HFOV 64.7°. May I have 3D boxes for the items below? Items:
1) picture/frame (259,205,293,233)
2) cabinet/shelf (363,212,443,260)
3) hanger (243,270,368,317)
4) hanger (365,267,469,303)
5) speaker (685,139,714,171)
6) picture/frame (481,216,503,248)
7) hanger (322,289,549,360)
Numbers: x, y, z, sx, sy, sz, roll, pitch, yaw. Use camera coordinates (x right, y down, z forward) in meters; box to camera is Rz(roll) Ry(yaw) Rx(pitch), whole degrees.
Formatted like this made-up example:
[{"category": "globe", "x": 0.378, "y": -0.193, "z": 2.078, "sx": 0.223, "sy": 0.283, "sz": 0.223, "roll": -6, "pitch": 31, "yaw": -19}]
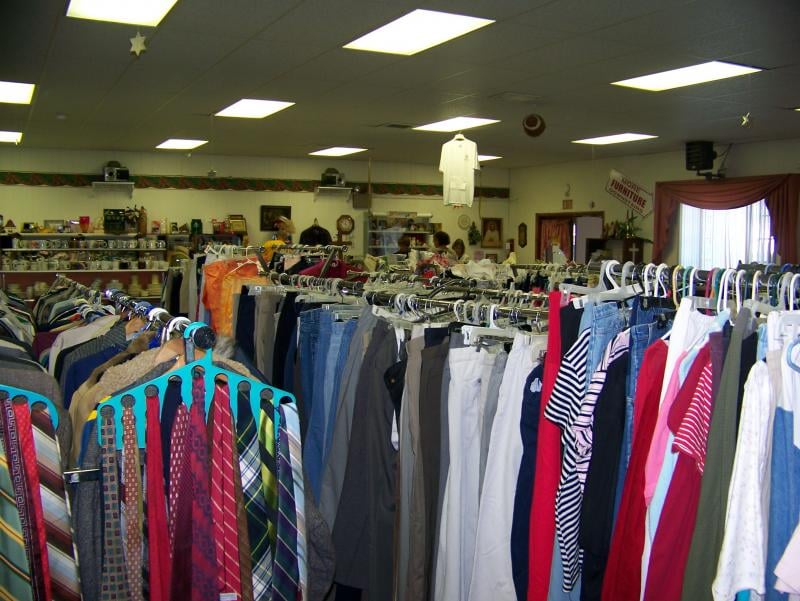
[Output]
[{"category": "picture/frame", "x": -2.336, "y": -1.562, "z": 11.921, "sx": 0.589, "sy": 0.510, "sz": 0.164, "roll": 1, "pitch": 3, "yaw": -12}, {"category": "cabinet/shelf", "x": -0.026, "y": -1.228, "z": 11.956, "sx": 1.116, "sy": 1.226, "sz": 0.387, "roll": 4, "pitch": -13, "yaw": -20}, {"category": "hanger", "x": -0.636, "y": -0.071, "z": 3.986, "sx": 0.158, "sy": 0.347, "sz": 1.520, "roll": -7, "pitch": 6, "yaw": -26}, {"category": "hanger", "x": 0.110, "y": -0.091, "z": 3.830, "sx": 0.289, "sy": 0.138, "sz": 0.420, "roll": -2, "pitch": 7, "yaw": -28}, {"category": "speaker", "x": 4.432, "y": -2.161, "z": 9.381, "sx": 0.428, "sy": 0.497, "sz": 0.324, "roll": 0, "pitch": 3, "yaw": -21}, {"category": "picture/frame", "x": 1.959, "y": -1.503, "z": 13.697, "sx": 0.597, "sy": 0.796, "sz": 0.057, "roll": -2, "pitch": 2, "yaw": -37}, {"category": "hanger", "x": 0.185, "y": 0.055, "z": 2.897, "sx": 1.133, "sy": 0.146, "sz": 0.444, "roll": 6, "pitch": 5, "yaw": 45}]
